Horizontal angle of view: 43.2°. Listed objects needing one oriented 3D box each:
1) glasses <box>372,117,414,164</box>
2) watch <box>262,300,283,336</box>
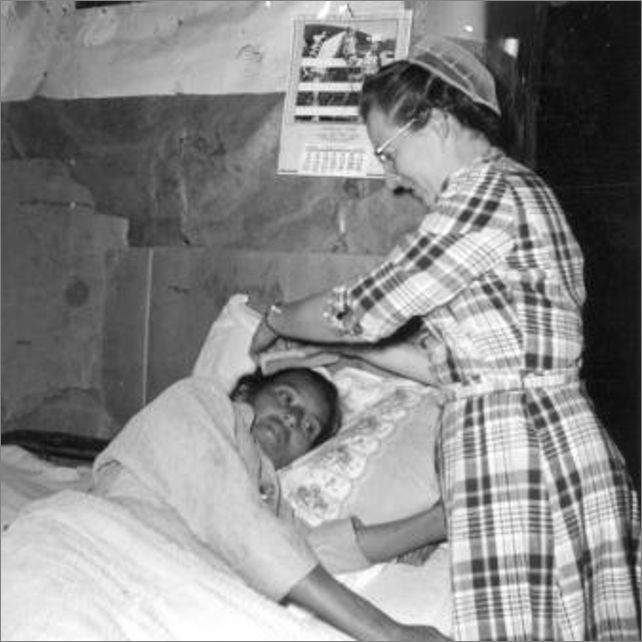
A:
[{"bbox_3d":[0.126,-0.317,1.425,0.017,0.058,0.054,34,-12,-19],"label":"glasses"},{"bbox_3d":[-0.087,-0.012,1.568,0.011,0.052,0.049,1,18,-15],"label":"watch"}]
